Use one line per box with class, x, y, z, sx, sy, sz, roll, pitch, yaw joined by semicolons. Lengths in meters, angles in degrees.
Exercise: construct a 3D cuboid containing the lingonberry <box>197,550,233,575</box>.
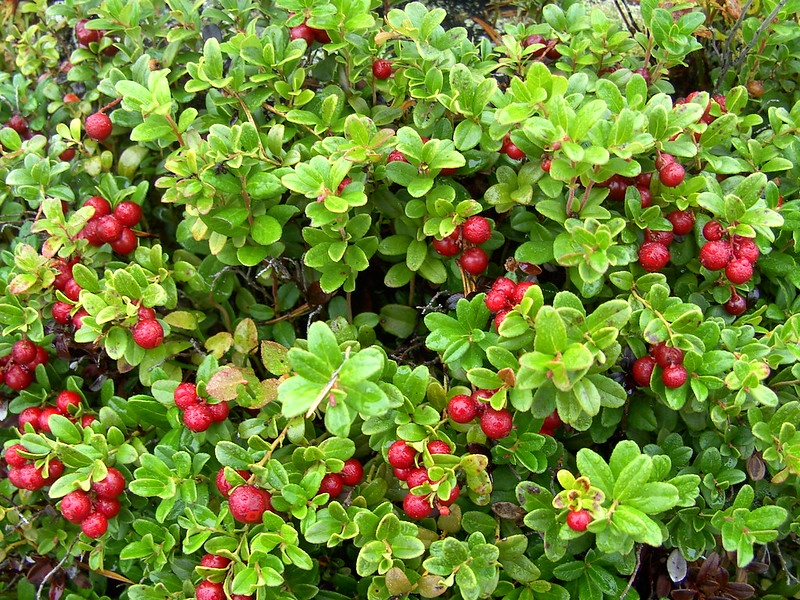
lingonberry;-0.647;0.908;2.305;0.088;0.071;0.072;26;86;-13
